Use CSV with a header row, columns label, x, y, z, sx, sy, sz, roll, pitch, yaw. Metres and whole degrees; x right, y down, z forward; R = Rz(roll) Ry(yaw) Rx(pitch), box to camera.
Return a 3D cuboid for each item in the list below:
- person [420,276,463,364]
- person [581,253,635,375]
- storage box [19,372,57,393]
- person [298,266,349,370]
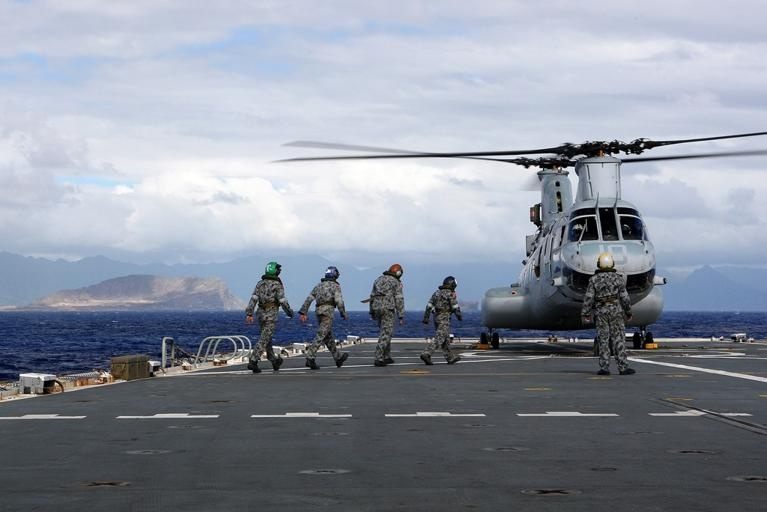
label,x,y,z,sx,sy,sz,roll,pitch,yaw
person,1.448,1.704,30.235,1.750,2.166,1.126,2,-1,-42
person,5.025,1.291,25.934,1.131,2.689,0.892,-1,-2,-8
storage box,-6.744,2.478,22.424,0.541,0.251,0.409,-1,-3,29
person,-1.479,1.540,28.701,1.186,2.305,1.672,-1,-5,32
